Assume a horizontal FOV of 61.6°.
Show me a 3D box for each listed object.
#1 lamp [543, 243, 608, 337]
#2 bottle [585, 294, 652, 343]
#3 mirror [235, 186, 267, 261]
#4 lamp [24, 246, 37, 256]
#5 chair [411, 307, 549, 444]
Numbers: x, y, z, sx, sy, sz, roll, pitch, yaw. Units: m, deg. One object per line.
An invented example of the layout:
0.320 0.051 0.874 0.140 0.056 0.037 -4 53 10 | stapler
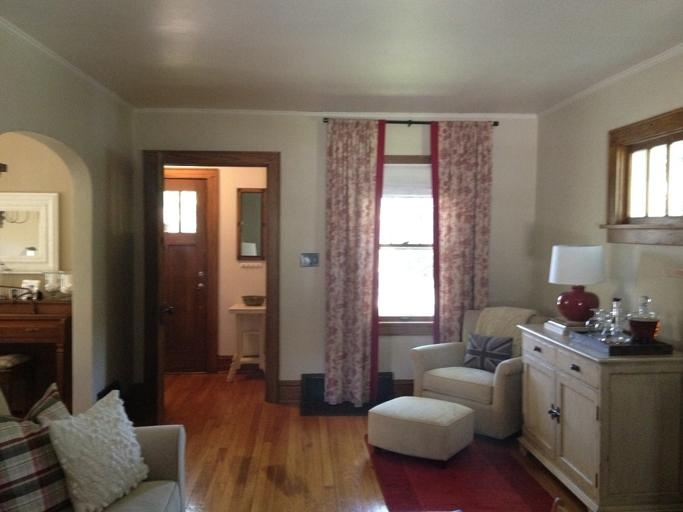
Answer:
1.867 0.255 4.569 0.467 0.652 0.456 -1 0 20 | lamp
2.019 0.442 4.141 0.467 0.328 0.318 -5 -2 18 | bottle
-1.056 -0.365 6.731 0.375 0.849 0.078 1 3 16 | mirror
-2.944 -0.044 5.415 0.108 0.102 0.079 5 -1 -31 | lamp
1.247 1.014 5.235 1.000 1.089 1.073 5 -2 -34 | chair
